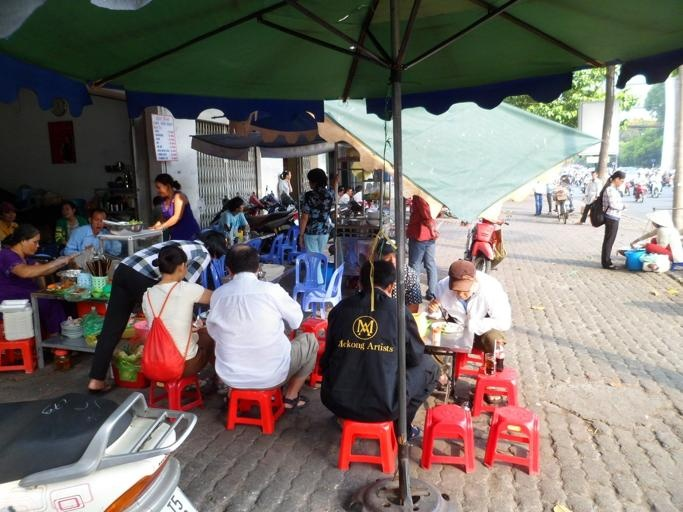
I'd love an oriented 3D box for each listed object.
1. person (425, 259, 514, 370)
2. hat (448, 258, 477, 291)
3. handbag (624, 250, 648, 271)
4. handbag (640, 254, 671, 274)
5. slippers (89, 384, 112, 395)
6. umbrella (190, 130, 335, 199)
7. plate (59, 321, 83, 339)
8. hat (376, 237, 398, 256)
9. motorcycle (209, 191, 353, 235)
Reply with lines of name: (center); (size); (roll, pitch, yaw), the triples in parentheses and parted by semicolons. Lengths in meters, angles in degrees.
person: (1.454, 0.690, 5.619); (0.835, 1.203, 0.823); (14, 39, 45)
hat: (1.281, 0.185, 5.177); (0.216, 0.193, 0.323); (2, 25, 21)
handbag: (6.591, 0.081, 11.113); (0.573, 0.499, 0.393); (0, 0, 6)
handbag: (6.947, 0.191, 10.885); (0.439, 0.444, 0.181); (4, -10, 6)
slippers: (-2.692, 1.453, 5.496); (0.206, 0.086, 0.109); (-4, 25, -39)
umbrella: (-2.130, -2.265, 12.332); (2.504, 0.993, 1.913); (0, 7, -7)
plate: (-3.329, 0.910, 6.070); (0.206, 0.136, 0.215); (2, 3, 1)
hat: (0.569, -0.109, 6.069); (0.224, 0.224, 0.266); (-2, 17, 1)
motorcycle: (-1.751, -0.906, 11.776); (2.586, 1.535, 1.287); (-6, 3, -18)
